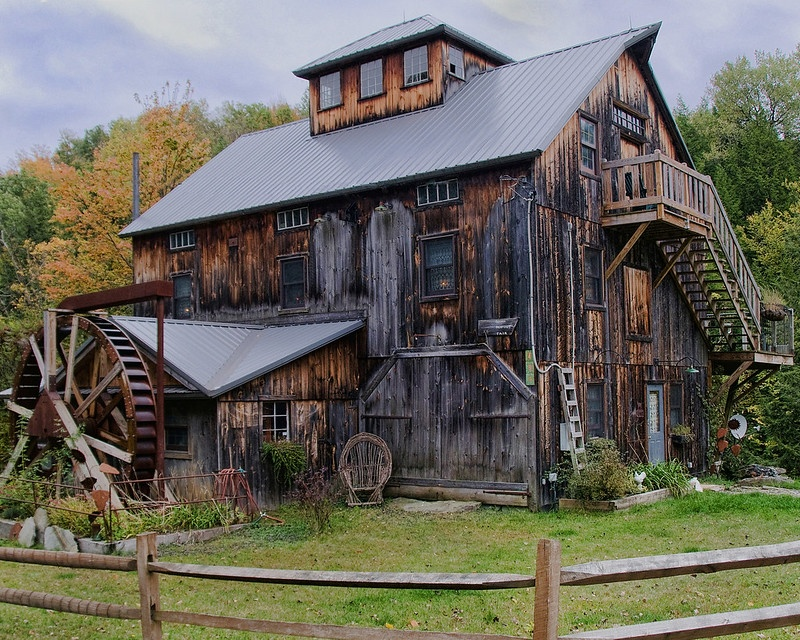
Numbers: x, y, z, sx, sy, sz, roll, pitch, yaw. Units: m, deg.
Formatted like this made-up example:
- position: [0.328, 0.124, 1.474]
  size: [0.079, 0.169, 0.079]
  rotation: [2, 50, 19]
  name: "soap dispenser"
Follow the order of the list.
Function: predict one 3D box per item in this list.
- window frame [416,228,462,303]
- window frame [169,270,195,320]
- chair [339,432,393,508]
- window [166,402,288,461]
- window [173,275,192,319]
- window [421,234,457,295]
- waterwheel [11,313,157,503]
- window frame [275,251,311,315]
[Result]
- position: [0.987, -1.325, 23.899]
  size: [1.276, 2.095, 0.171]
  rotation: [-8, -15, 36]
  name: "window frame"
- position: [-6.420, -0.666, 29.081]
  size: [0.640, 1.534, 0.127]
  rotation: [-5, -18, -5]
  name: "window frame"
- position: [-0.807, 3.639, 23.657]
  size: [1.265, 2.100, 1.363]
  rotation: [0, -11, -1]
  name: "chair"
- position: [-4.183, 2.543, 22.692]
  size: [1.588, 1.265, 1.679]
  rotation: [-6, -8, 34]
  name: "window"
- position: [-6.420, -0.698, 29.048]
  size: [0.577, 1.417, 0.110]
  rotation: [-5, -10, -1]
  name: "window"
- position: [1.001, -1.344, 23.974]
  size: [0.822, 1.840, 0.145]
  rotation: [-5, -26, 7]
  name: "window"
- position: [-6.538, 1.998, 22.756]
  size: [3.596, 5.017, 3.738]
  rotation: [-4, -5, 43]
  name: "waterwheel"
- position: [-2.882, -1.063, 26.573]
  size: [0.824, 1.748, 0.128]
  rotation: [-7, 30, -13]
  name: "window frame"
